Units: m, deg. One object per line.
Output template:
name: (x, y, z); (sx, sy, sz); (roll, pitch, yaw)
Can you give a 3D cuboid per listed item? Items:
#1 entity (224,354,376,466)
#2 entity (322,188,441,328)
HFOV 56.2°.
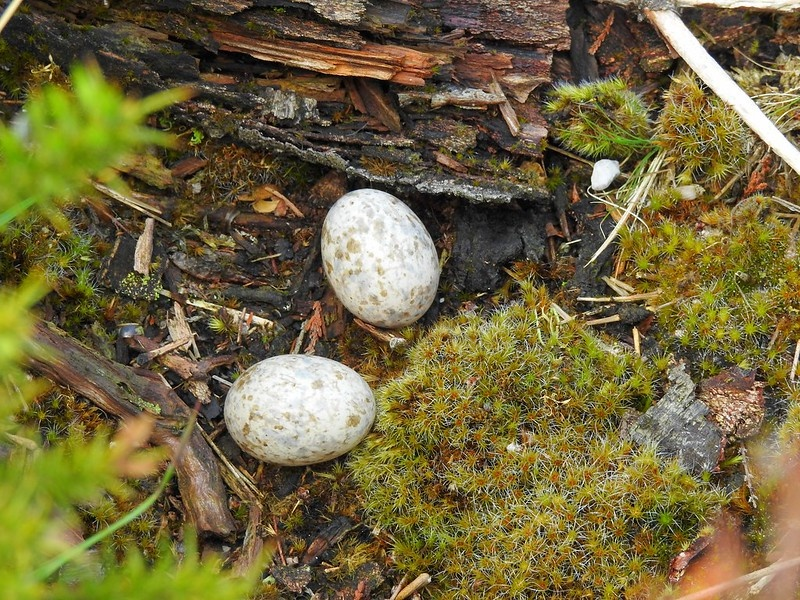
entity: (-0.478, 0.530, 3.727); (0.681, 0.474, 0.427); (0, 95, 0)
entity: (-0.105, -0.225, 4.142); (0.548, 0.561, 0.733); (-39, 90, 1)
